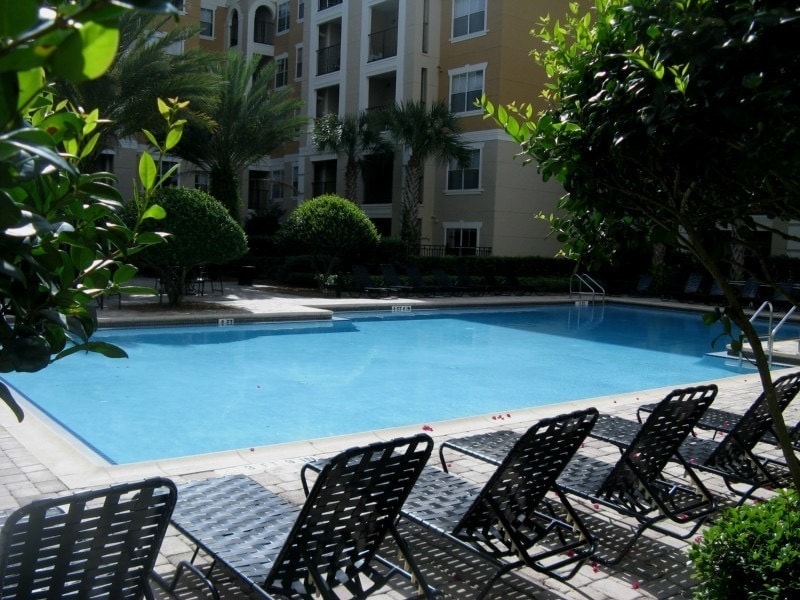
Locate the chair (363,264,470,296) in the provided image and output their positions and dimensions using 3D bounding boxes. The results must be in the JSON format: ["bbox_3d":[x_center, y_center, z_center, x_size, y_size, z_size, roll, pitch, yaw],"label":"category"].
[{"bbox_3d":[0.627,-0.828,22.358,4.482,1.119,1.995,-3,9,-34],"label":"chair"}]
